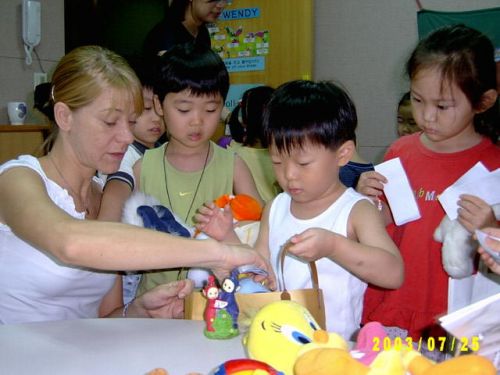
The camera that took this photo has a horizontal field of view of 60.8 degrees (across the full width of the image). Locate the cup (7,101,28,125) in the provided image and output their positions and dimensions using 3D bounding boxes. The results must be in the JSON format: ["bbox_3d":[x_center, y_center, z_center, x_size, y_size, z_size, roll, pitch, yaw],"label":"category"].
[{"bbox_3d":[-2.040,-0.642,3.754,0.199,0.236,0.190,1,6,0],"label":"cup"}]

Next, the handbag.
[{"bbox_3d":[0.086,0.298,1.195,0.233,0.103,0.294,-3,62,0],"label":"handbag"}]
